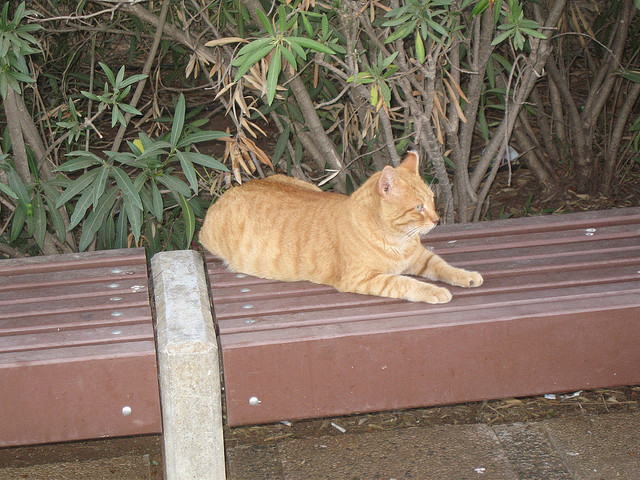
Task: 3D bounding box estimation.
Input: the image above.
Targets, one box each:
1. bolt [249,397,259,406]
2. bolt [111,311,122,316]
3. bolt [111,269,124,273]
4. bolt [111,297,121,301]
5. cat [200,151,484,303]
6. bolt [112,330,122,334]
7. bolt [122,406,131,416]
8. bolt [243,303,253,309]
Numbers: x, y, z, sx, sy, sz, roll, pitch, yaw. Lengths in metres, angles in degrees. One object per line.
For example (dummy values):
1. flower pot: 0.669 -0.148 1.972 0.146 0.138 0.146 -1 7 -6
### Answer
1. bolt: -0.193 0.477 1.842 0.027 0.017 0.022 -5 13 -5
2. bolt: -0.643 0.234 1.978 0.031 0.005 0.038 -1 22 -6
3. bolt: -0.730 0.112 2.244 0.047 0.004 0.033 2 22 2
4. bolt: -0.674 0.197 2.058 0.028 0.003 0.022 3 22 5
5. cat: 0.079 -0.083 2.384 1.172 0.442 0.539 12 25 25
6. bolt: -0.611 0.276 1.872 0.030 0.003 0.028 4 22 6
7. bolt: -0.559 0.492 1.798 0.032 0.027 0.007 2 3 -11
8. bolt: -0.232 0.214 2.027 0.032 0.005 0.034 1 22 -1
